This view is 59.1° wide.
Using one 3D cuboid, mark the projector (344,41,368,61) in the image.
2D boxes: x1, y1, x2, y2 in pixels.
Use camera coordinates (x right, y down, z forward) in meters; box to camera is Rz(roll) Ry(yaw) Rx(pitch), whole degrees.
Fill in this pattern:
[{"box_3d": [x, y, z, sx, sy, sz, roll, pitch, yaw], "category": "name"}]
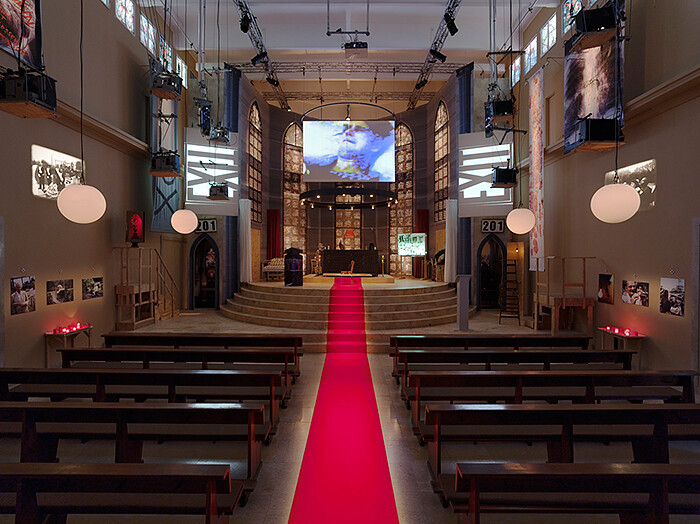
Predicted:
[{"box_3d": [0.113, -5.554, 16.118, 0.605, 0.460, 0.505, 2, -3, 7], "category": "projector"}]
